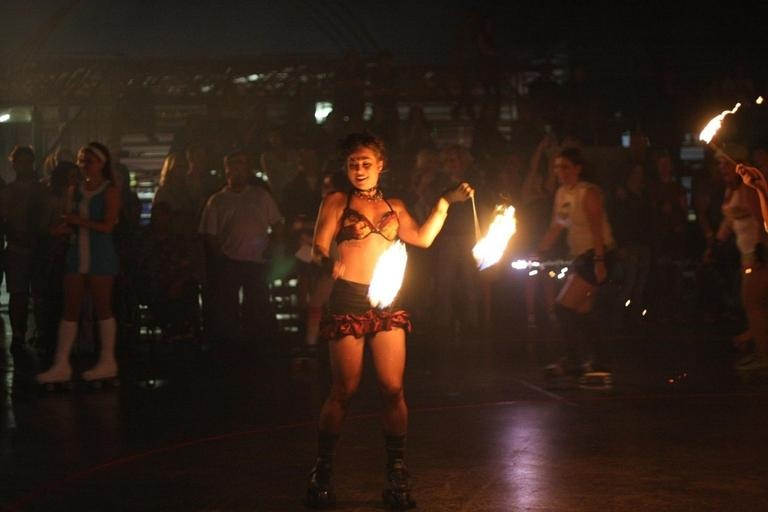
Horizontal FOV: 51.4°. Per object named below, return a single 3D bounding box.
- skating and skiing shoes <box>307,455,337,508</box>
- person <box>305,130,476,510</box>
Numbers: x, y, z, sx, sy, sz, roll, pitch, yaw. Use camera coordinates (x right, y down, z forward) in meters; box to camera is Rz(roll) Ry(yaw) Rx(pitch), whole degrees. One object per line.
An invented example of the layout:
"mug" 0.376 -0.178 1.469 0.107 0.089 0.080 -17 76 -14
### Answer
"skating and skiing shoes" -0.511 1.804 6.401 0.228 0.368 0.248 -1 7 -8
"person" -0.084 0.468 6.595 1.071 2.956 0.915 0 7 -2
